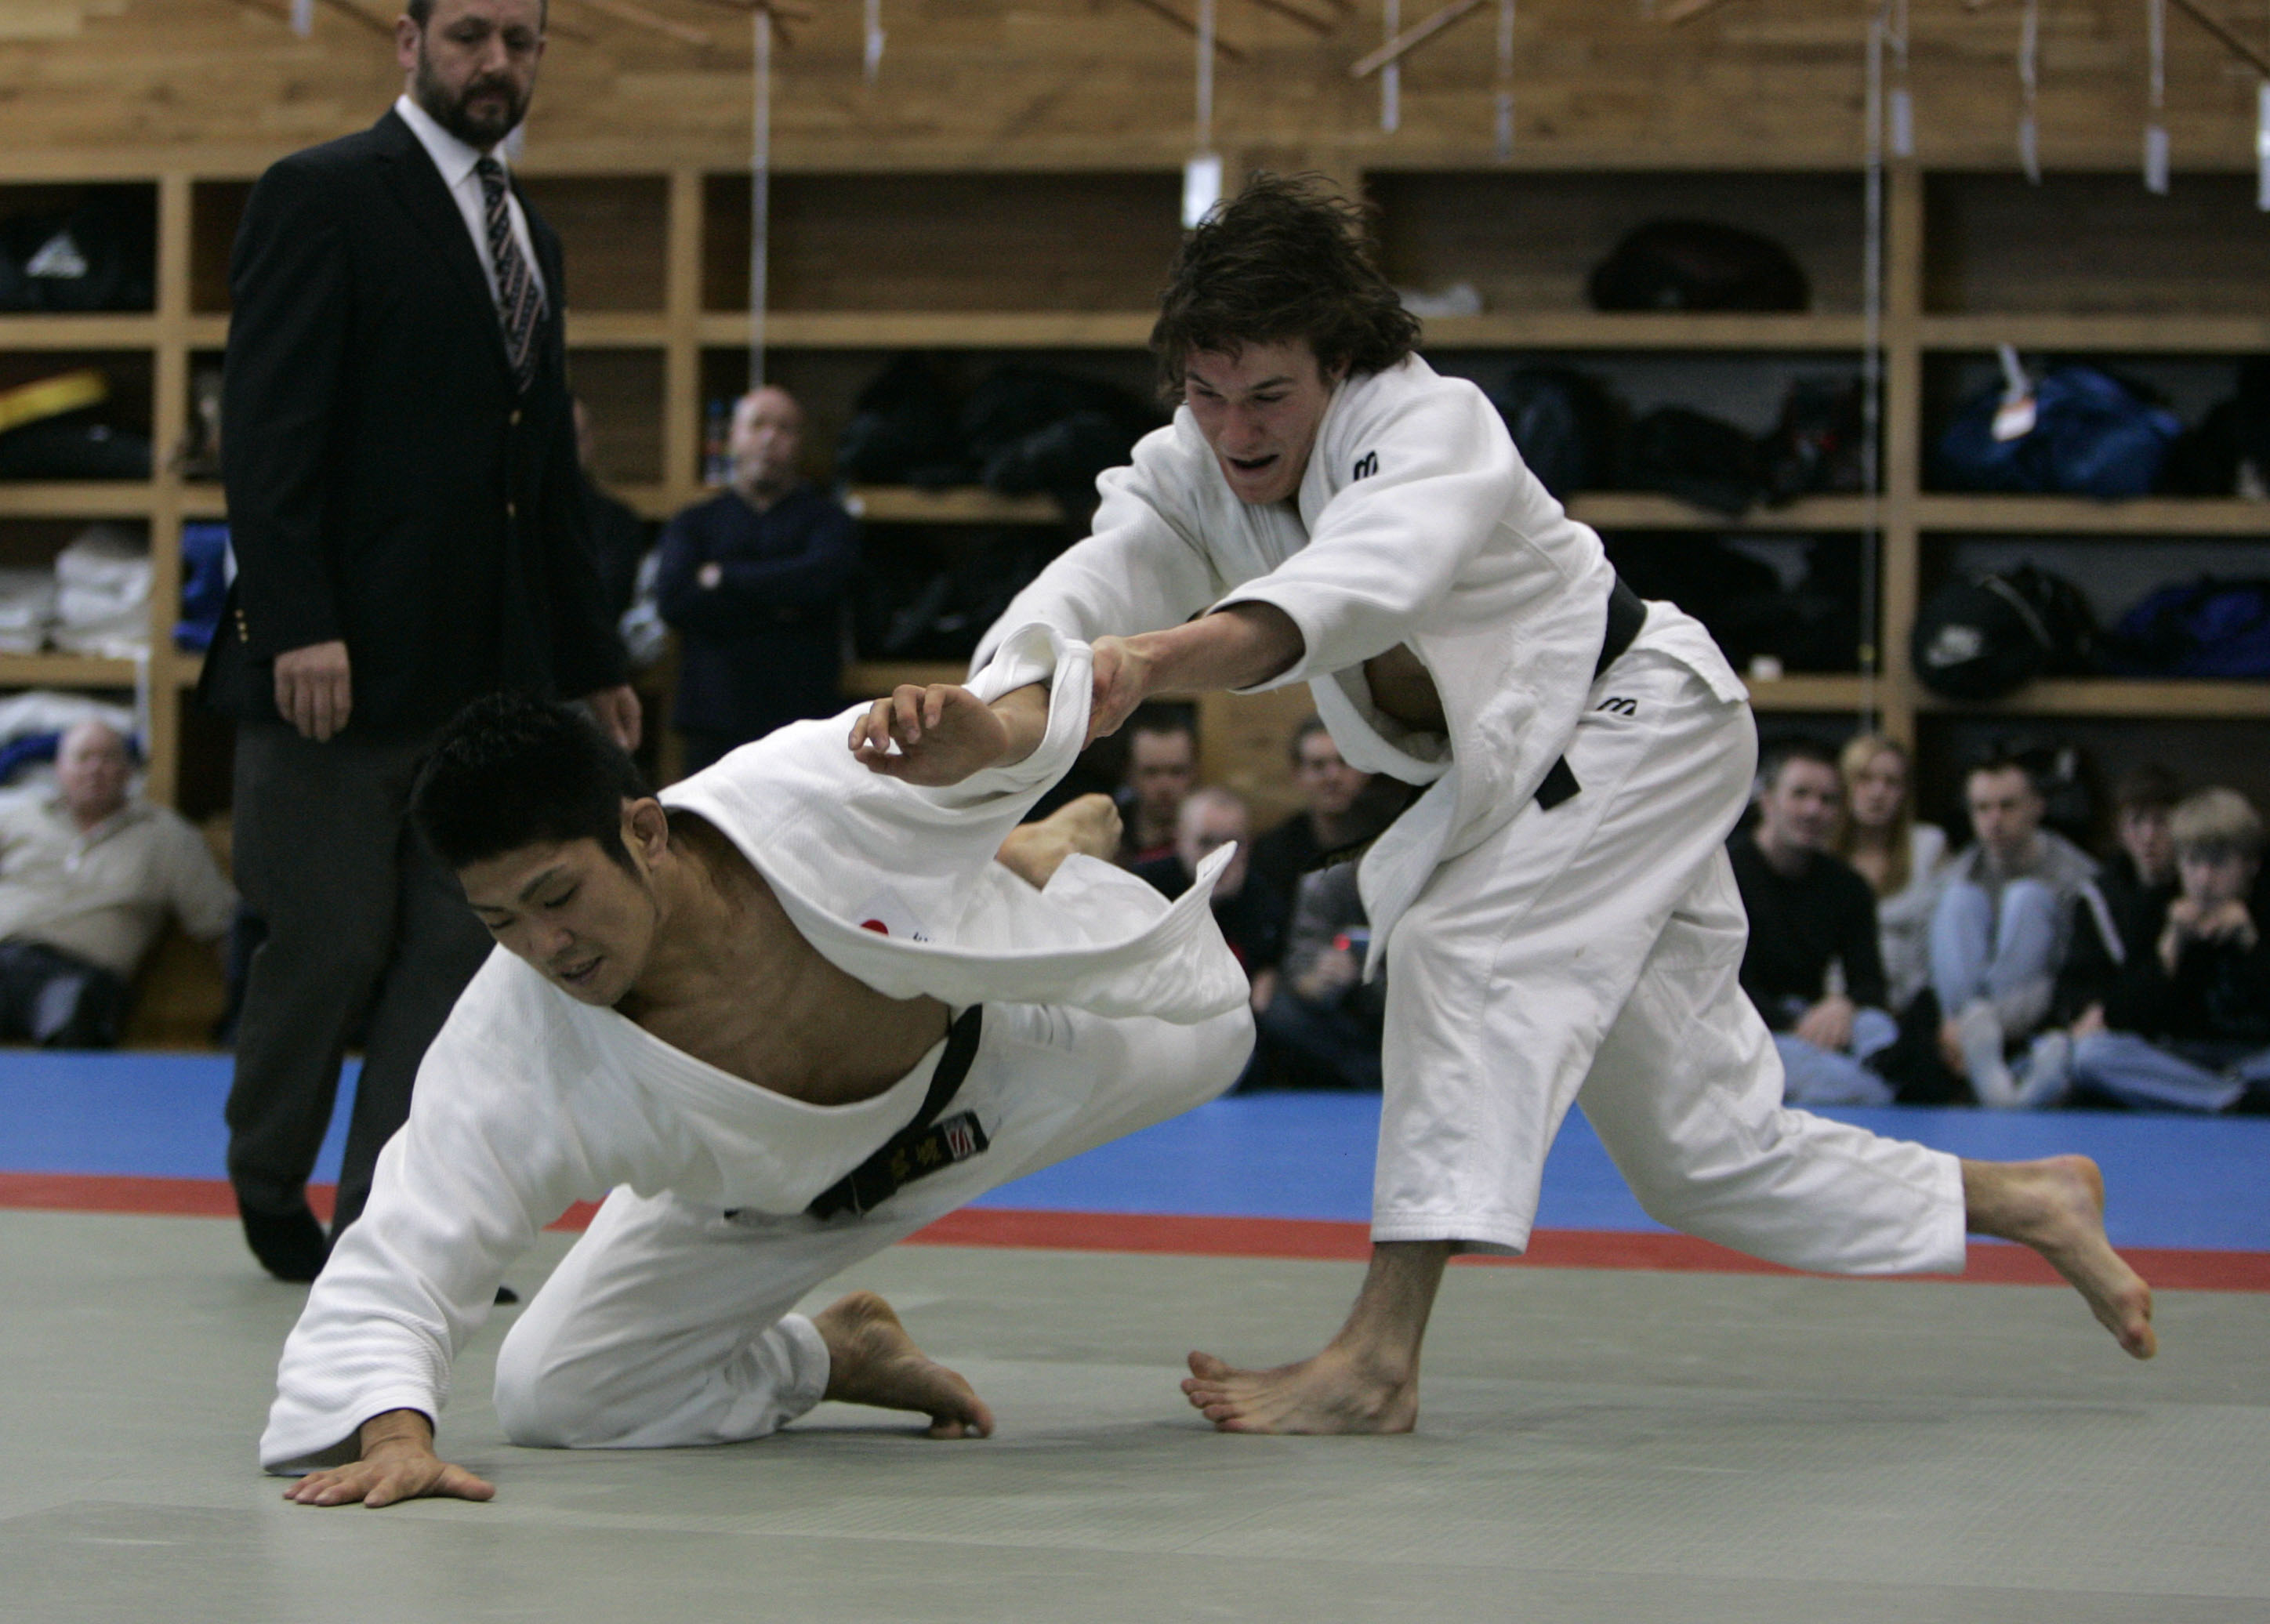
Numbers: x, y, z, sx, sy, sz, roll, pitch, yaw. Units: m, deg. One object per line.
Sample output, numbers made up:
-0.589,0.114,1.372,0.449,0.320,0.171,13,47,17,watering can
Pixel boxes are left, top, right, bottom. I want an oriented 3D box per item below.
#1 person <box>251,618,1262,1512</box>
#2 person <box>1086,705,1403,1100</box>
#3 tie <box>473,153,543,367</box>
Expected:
-0.470,0.423,4.911,1.394,1.128,1.938,-15,-3,15,person
0.348,0.244,7.679,0.643,0.905,0.313,-4,-7,3,person
-1.088,-0.954,5.522,0.079,0.404,0.045,-8,10,-15,tie
